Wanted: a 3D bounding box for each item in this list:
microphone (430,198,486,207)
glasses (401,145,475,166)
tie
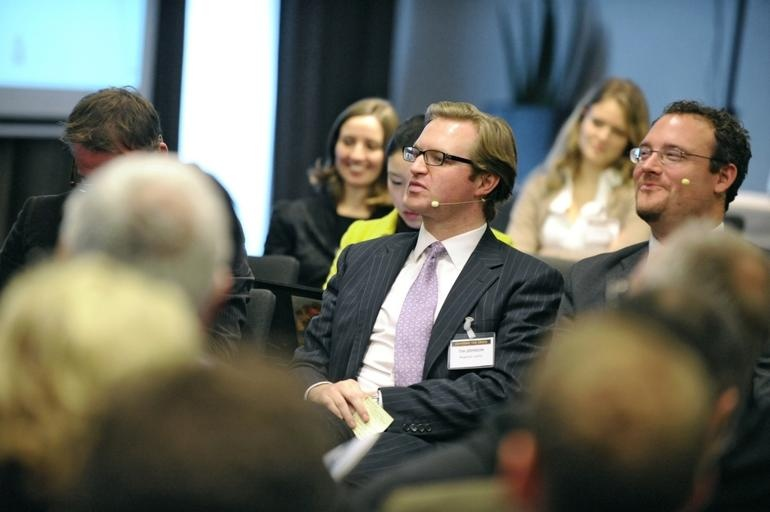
[{"bbox_3d":[0.216,-0.162,2.519,0.137,0.021,0.022,-4,1,-25],"label":"microphone"},{"bbox_3d":[0.163,-0.302,2.548,0.117,0.031,0.112,10,-4,-29],"label":"glasses"},{"bbox_3d":[0.100,0.164,2.386,0.108,0.365,0.270,6,15,11],"label":"tie"}]
